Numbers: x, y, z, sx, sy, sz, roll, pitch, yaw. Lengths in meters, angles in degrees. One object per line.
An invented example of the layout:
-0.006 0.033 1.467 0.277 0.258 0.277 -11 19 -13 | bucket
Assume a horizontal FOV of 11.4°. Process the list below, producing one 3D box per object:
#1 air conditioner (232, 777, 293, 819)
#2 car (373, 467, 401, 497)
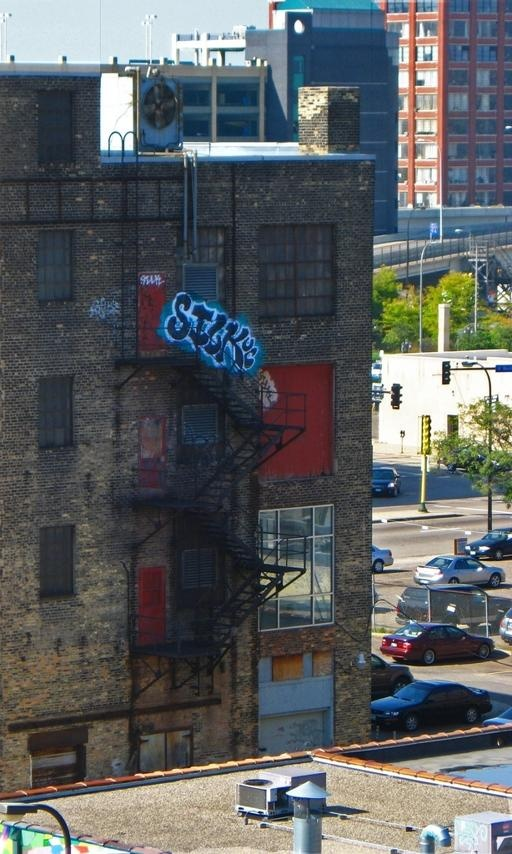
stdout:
0.211 6.726 46.468 1.137 0.568 0.581 -1 0 42 | air conditioner
5.673 2.359 111.297 1.026 1.075 1.951 -1 -4 6 | car
